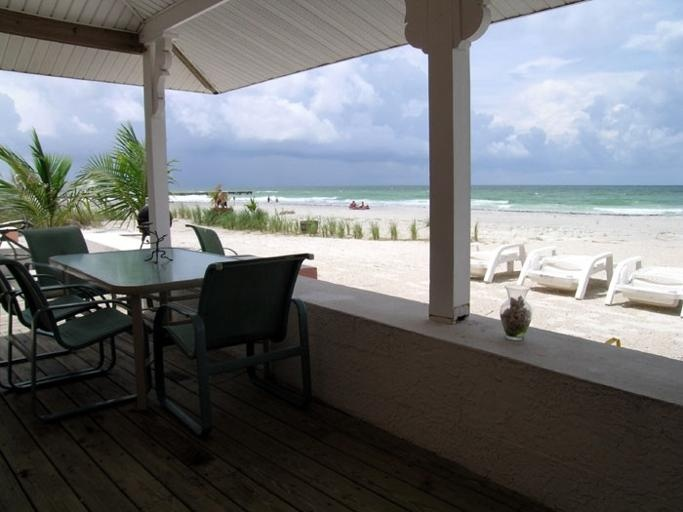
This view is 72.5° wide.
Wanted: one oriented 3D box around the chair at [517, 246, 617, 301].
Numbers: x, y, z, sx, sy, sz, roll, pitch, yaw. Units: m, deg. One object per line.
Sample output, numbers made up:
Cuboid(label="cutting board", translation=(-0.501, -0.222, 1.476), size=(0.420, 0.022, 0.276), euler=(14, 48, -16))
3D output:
Cuboid(label="chair", translation=(3.599, 0.220, 7.360), size=(1.275, 0.577, 0.935), euler=(-15, 18, -41))

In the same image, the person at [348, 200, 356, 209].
Cuboid(label="person", translation=(0.820, -3.591, 33.684), size=(0.592, 0.387, 0.851), euler=(-1, 8, -10))

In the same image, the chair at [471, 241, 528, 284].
Cuboid(label="chair", translation=(2.893, 0.067, 8.374), size=(1.191, 0.599, 0.880), euler=(-11, 11, -35))

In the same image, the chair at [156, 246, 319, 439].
Cuboid(label="chair", translation=(-0.652, 0.433, 2.821), size=(0.849, 0.958, 0.853), euler=(8, 9, 32))

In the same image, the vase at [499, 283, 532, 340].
Cuboid(label="vase", translation=(0.890, 0.275, 2.379), size=(0.138, 0.250, 0.258), euler=(4, 11, 22))

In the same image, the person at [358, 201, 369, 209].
Cuboid(label="person", translation=(1.765, -3.516, 33.437), size=(0.908, 0.461, 0.682), euler=(-5, 9, -32))
